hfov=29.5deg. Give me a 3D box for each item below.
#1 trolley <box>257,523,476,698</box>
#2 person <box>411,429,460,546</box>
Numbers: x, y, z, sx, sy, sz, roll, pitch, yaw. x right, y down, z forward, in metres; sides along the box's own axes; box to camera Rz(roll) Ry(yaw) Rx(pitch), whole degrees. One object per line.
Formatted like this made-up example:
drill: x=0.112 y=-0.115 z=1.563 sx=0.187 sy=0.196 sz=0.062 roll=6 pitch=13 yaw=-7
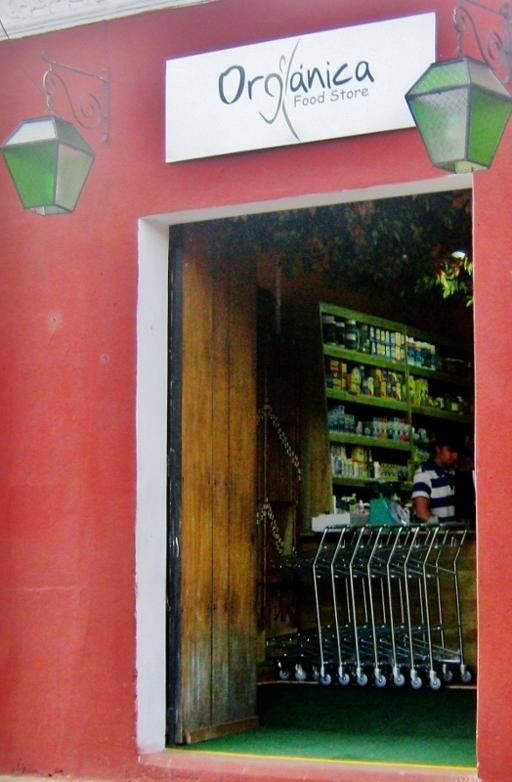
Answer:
trolley: x=0.628 y=1.298 z=5.678 sx=0.637 sy=1.003 sz=1.111 roll=-3 pitch=6 yaw=-44
person: x=1.283 y=0.712 z=6.960 sx=0.395 sy=0.944 sz=0.237 roll=7 pitch=-12 yaw=-33
